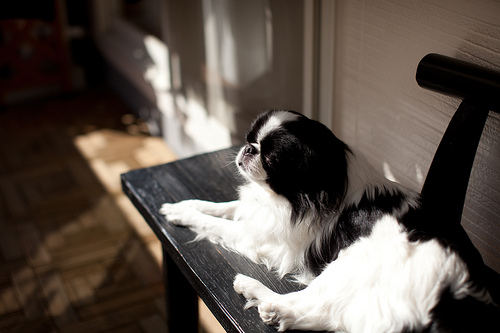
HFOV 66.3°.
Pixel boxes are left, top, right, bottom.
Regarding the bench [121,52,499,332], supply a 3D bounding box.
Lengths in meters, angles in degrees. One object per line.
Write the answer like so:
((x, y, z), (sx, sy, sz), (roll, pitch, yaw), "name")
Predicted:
((0.017, -0.032, 1.550), (0.926, 1.409, 1.032), (-11, 37, -17), "bench")
